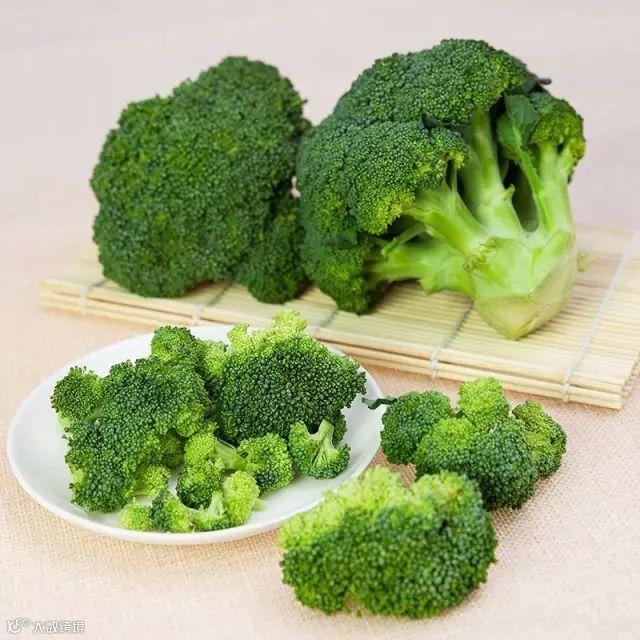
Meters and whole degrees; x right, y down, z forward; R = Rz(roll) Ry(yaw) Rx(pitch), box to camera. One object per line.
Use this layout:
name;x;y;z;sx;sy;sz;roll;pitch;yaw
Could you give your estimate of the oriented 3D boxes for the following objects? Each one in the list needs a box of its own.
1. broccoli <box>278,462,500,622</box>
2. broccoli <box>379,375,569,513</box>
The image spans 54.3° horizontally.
broccoli;0.132;0.386;1.136;0.342;0.166;0.250;-4;-10;18
broccoli;0.358;0.232;1.352;0.373;0.194;0.274;-19;22;-30
